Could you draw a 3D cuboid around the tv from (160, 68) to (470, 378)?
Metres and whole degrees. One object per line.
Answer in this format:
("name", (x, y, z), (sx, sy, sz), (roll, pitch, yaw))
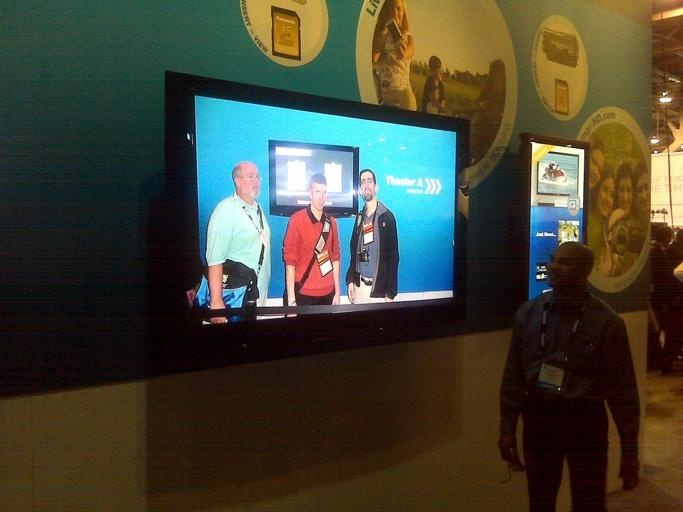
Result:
("tv", (-0.156, -0.139, 2.757), (1.399, 1.053, 0.111), (-2, 4, -27))

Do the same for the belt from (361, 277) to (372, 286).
("belt", (0.114, 0.117, 2.874), (0.041, 0.016, 0.031), (3, 6, -12))

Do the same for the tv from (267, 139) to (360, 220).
("tv", (-0.140, -0.336, 2.725), (0.325, 0.255, 0.033), (-3, 5, -23))
